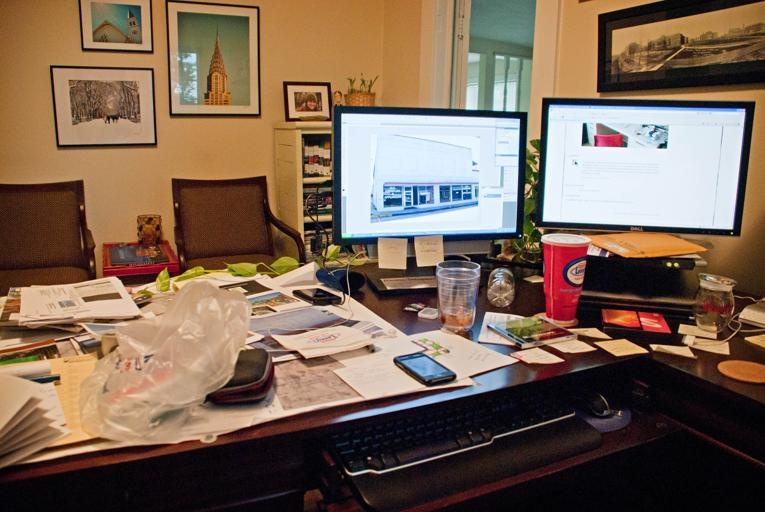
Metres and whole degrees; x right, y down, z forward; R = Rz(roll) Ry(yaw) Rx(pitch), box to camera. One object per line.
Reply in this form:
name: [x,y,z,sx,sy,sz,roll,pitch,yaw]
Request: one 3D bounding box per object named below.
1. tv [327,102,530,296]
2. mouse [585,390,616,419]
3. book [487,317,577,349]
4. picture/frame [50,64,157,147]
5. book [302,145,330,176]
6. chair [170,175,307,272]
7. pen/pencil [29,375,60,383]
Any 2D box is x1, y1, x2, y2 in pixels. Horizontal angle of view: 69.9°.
tv: [0.156,-0.192,1.903,0.753,0.563,0.219,-1,7,-14]
mouse: [0.618,0.415,1.539,0.056,0.026,0.085,-4,8,-11]
book: [0.438,0.227,1.647,0.131,0.017,0.116,-8,17,-23]
picture/frame: [-1.886,-1.015,3.642,0.626,0.481,0.025,-3,16,-20]
book: [-0.462,-0.669,3.846,0.222,0.221,0.074,-10,17,-26]
chair: [-1.077,-0.247,3.767,0.739,0.951,0.731,-6,10,-24]
pen/pencil: [-0.840,0.309,1.369,0.035,0.008,0.025,-1,3,-31]
